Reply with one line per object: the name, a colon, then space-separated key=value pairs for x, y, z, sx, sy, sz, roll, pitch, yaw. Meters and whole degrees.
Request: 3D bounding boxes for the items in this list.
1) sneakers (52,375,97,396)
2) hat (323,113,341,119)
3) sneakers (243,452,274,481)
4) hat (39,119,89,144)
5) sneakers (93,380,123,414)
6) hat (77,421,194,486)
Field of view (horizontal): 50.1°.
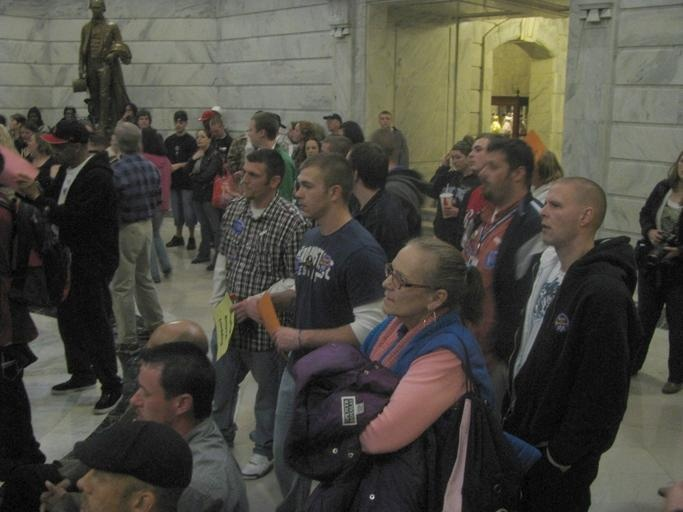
sneakers: x=-2.517 y=1.205 z=6.895 sx=0.412 sy=0.194 sz=0.141 roll=1 pitch=6 yaw=-24
hat: x=-0.175 y=-2.331 z=12.250 sx=0.273 sy=0.113 sz=0.177 roll=2 pitch=5 yaw=-17
sneakers: x=-0.651 y=1.596 z=5.567 sx=0.115 sy=0.111 sz=0.268 roll=2 pitch=-1 yaw=22
hat: x=-2.456 y=-1.098 z=6.487 sx=0.301 sy=0.174 sz=0.227 roll=5 pitch=15 yaw=-8
sneakers: x=-2.110 y=1.276 z=6.572 sx=0.123 sy=0.149 sz=0.356 roll=-1 pitch=12 yaw=1
hat: x=-0.987 y=0.952 z=3.522 sx=0.440 sy=0.221 sz=0.308 roll=26 pitch=5 yaw=-7
